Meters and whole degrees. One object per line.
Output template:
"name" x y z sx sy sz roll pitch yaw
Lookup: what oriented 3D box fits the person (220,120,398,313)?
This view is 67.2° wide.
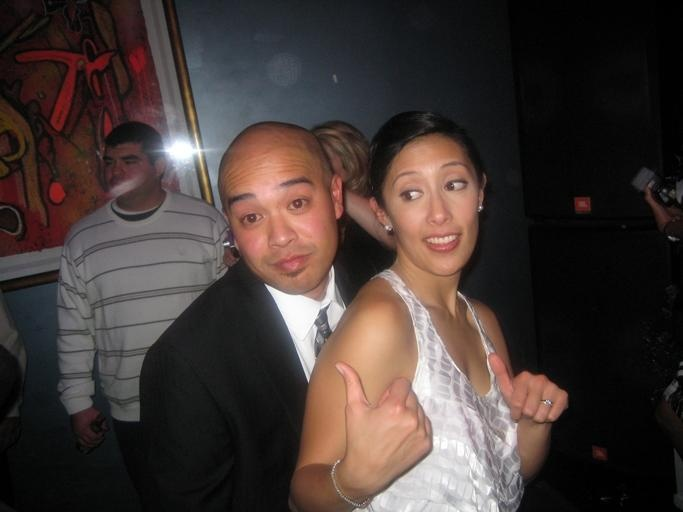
"person" -0.244 -0.221 2.356 0.554 0.799 0.607 -15 16 -2

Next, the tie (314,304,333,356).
"tie" -0.079 0.322 2.268 0.057 0.235 0.066 3 -17 20

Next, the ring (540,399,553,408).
"ring" 0.813 0.592 2.041 0.038 0.029 0.014 19 4 3

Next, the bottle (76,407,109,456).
"bottle" -1.444 1.027 3.005 0.193 0.275 0.118 20 18 -4
